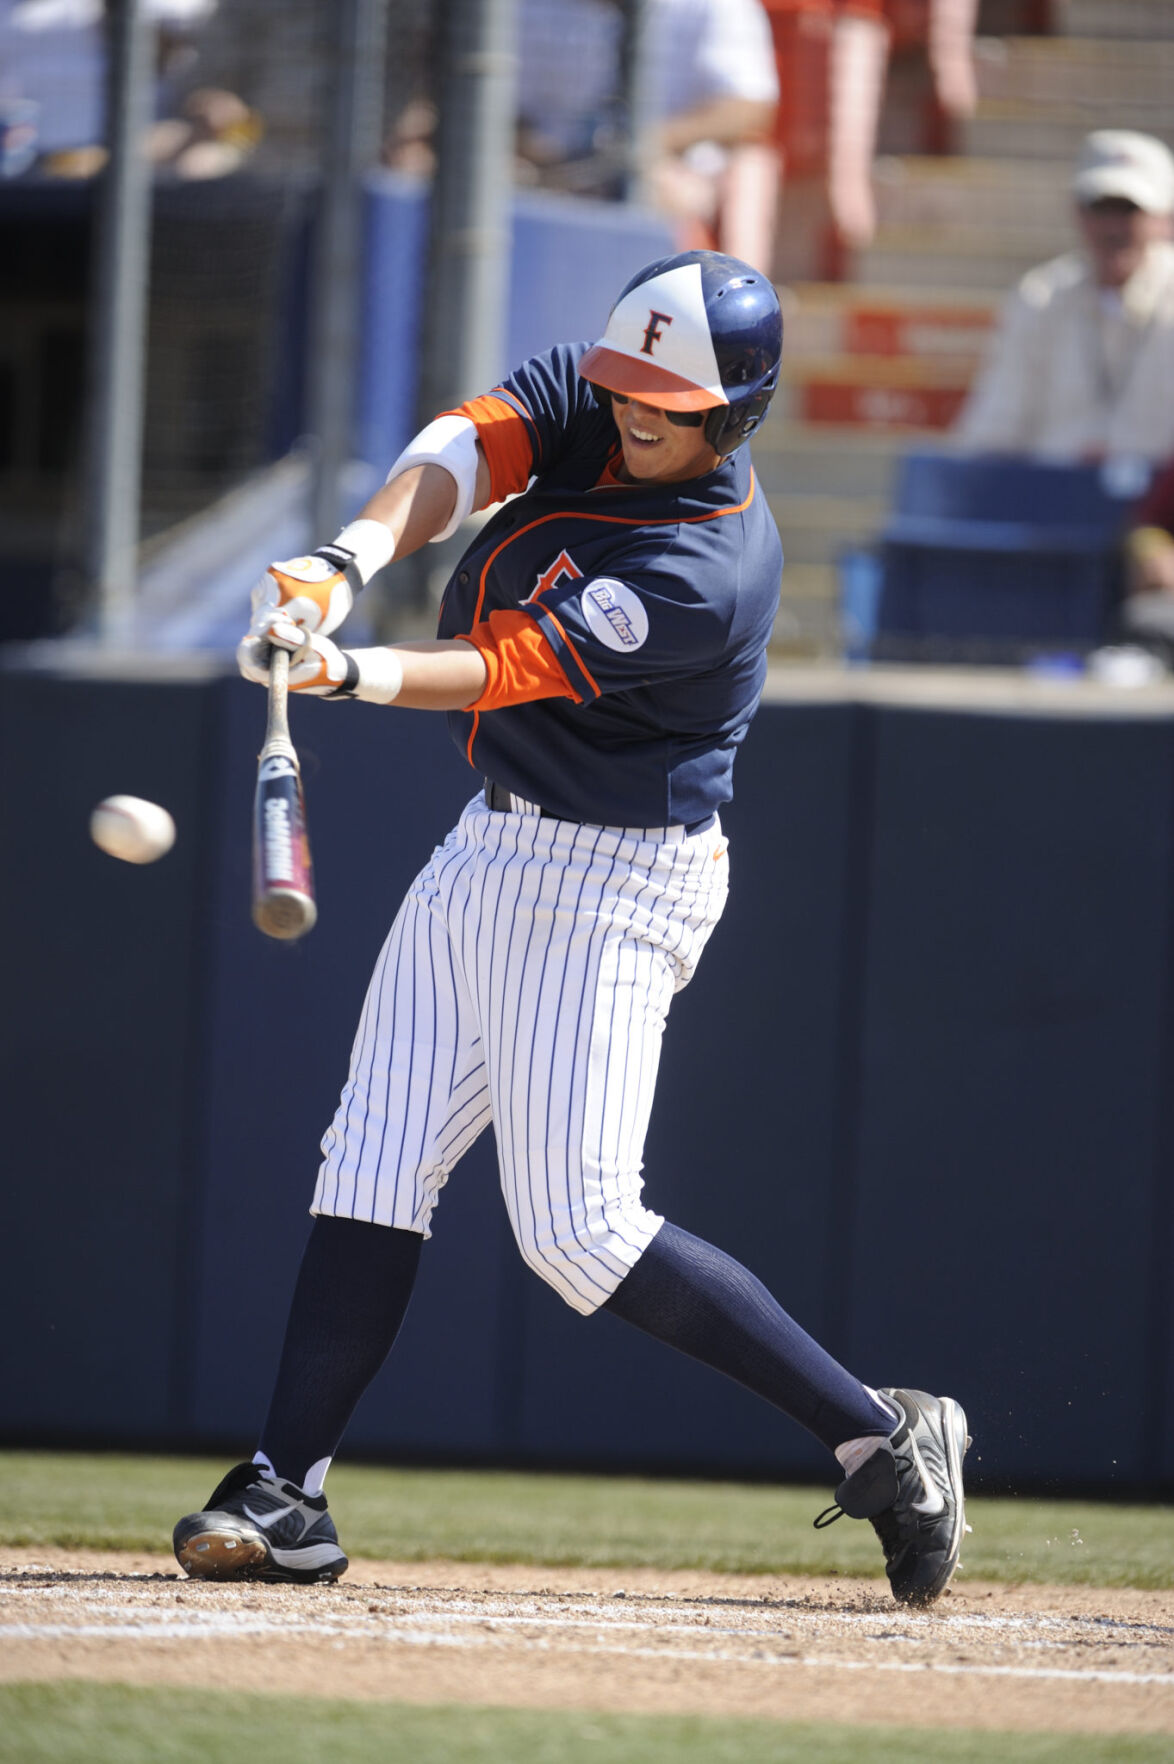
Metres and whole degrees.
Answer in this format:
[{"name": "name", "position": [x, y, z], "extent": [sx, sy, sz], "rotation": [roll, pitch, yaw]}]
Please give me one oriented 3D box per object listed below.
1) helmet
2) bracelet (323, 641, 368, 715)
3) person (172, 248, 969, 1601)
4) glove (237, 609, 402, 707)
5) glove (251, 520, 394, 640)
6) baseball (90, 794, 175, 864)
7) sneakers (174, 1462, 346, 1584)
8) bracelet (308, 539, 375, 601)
[{"name": "helmet", "position": [0.117, -0.540, 2.649], "extent": [0.169, 0.146, 0.236], "rotation": [30, 22, 19]}, {"name": "bracelet", "position": [-0.222, -0.194, 2.470], "extent": [0.029, 0.049, 0.041], "rotation": [1, 9, -31]}, {"name": "person", "position": [0.024, 0.069, 2.736], "extent": [0.854, 1.458, 0.434], "rotation": [7, 10, -9]}, {"name": "glove", "position": [-0.253, -0.209, 2.456], "extent": [0.140, 0.052, 0.084], "rotation": [7, 24, -3]}, {"name": "glove", "position": [-0.255, -0.300, 2.558], "extent": [0.080, 0.072, 0.171], "rotation": [36, 60, 20]}, {"name": "baseball", "position": [-0.512, -0.058, 2.924], "extent": [0.094, 0.055, 0.090], "rotation": [17, -16, 18]}, {"name": "sneakers", "position": [-0.335, 0.685, 2.750], "extent": [0.087, 0.109, 0.215], "rotation": [-17, -29, 26]}, {"name": "bracelet", "position": [-0.239, -0.309, 2.625], "extent": [0.064, 0.057, 0.038], "rotation": [20, 45, 29]}]
